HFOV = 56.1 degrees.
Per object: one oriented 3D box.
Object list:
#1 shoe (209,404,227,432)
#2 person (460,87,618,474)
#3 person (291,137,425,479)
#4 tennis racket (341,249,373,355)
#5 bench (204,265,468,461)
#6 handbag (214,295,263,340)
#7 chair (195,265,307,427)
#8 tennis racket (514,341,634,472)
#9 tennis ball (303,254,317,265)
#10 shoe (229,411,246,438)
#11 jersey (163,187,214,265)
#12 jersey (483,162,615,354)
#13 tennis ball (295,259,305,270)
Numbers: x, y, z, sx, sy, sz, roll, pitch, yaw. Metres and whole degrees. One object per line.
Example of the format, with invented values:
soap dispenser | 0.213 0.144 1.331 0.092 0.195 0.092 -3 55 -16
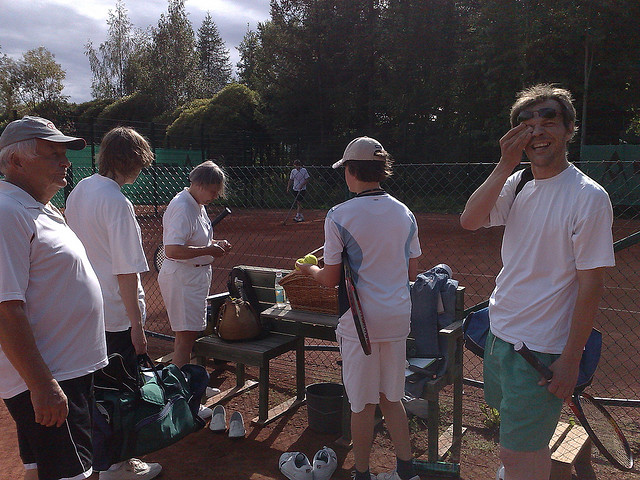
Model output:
shoe | -0.882 1.572 5.231 0.156 0.170 0.214 3 11 4
person | 1.286 0.239 3.597 0.561 2.267 0.767 -2 11 -21
person | 0.351 0.548 4.236 0.723 2.469 0.581 2 10 0
tennis racket | 0.236 0.448 4.068 0.272 0.683 0.159 6 11 23
bench | -0.385 0.846 5.249 0.735 1.231 2.006 -10 -3 -33
handbag | -0.733 0.722 5.388 0.406 0.420 0.242 -6 3 -31
chair | -0.649 0.948 5.528 0.801 1.261 0.798 2 6 30
tennis racket | 1.646 1.140 3.904 1.218 0.080 0.449 38 32 -37
tennis ball | -0.077 0.167 4.873 0.082 0.095 0.067 7 2 -4
shoe | -0.700 1.590 5.082 0.137 0.174 0.178 1 11 -6
jersey | -1.174 -0.136 5.390 0.362 0.660 0.743 3 12 2
jersey | 1.329 0.099 3.528 0.727 1.072 0.436 7 12 26
tennis ball | -0.179 0.198 4.896 0.095 0.109 0.063 -5 26 3
